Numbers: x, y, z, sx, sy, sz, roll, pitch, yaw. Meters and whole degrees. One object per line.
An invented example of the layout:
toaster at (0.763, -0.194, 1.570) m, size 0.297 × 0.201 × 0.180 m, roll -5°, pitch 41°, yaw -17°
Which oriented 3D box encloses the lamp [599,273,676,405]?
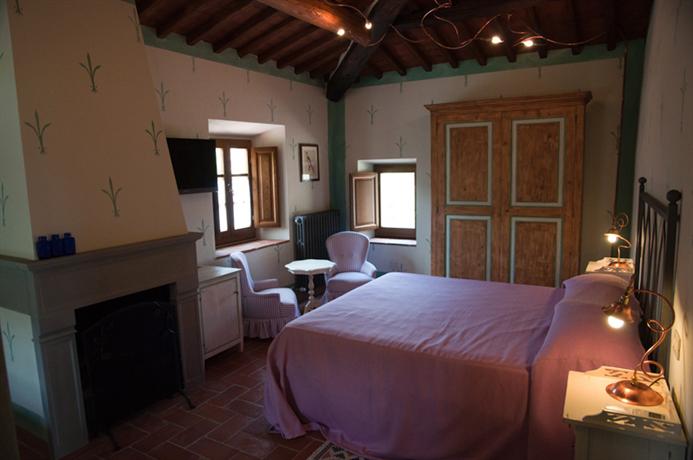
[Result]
lamp at (1.772, 0.677, 2.891) m, size 0.365 × 0.715 × 0.311 m, roll 2°, pitch 2°, yaw 18°

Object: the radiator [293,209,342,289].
radiator at (-0.452, 0.317, 6.927) m, size 0.177 × 1.029 × 1.094 m, roll 5°, pitch 10°, yaw 35°

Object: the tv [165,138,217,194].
tv at (-1.781, -0.742, 5.557) m, size 0.066 × 0.631 × 0.706 m, roll 0°, pitch 8°, yaw 24°

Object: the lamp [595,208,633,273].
lamp at (2.773, 0.106, 4.842) m, size 0.251 × 0.561 × 0.227 m, roll 3°, pitch 4°, yaw 20°

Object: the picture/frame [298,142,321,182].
picture/frame at (-0.579, -1.058, 7.294) m, size 0.061 × 0.648 × 0.573 m, roll 2°, pitch 8°, yaw 26°

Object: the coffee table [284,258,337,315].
coffee table at (-0.463, 0.806, 6.373) m, size 0.566 × 0.606 × 0.579 m, roll -3°, pitch 0°, yaw -15°
